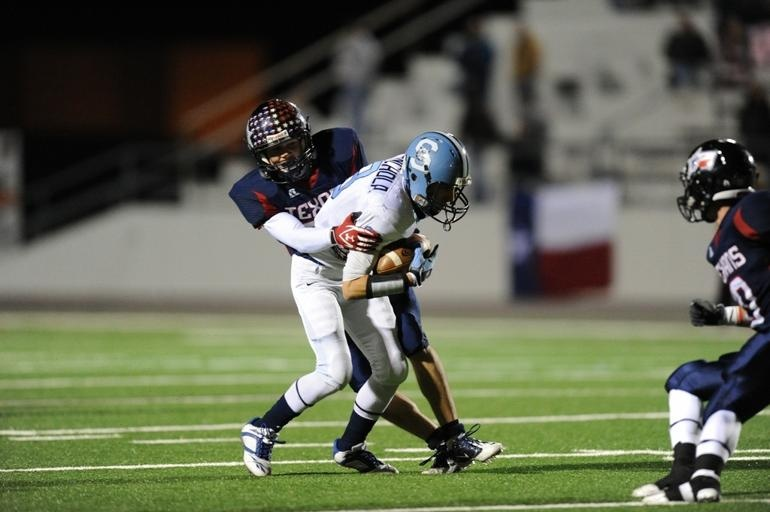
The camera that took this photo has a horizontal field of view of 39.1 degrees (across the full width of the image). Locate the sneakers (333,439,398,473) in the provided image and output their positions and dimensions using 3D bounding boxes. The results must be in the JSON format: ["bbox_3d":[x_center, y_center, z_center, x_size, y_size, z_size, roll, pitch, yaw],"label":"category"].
[{"bbox_3d":[-0.098,1.641,8.882,0.647,0.273,0.209,7,-2,-1],"label":"sneakers"}]

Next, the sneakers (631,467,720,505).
[{"bbox_3d":[2.133,1.692,7.963,0.636,0.279,0.206,-7,-26,22],"label":"sneakers"}]

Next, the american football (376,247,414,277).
[{"bbox_3d":[0.077,0.025,8.563,0.284,0.169,0.157,-21,22,-25],"label":"american football"}]
